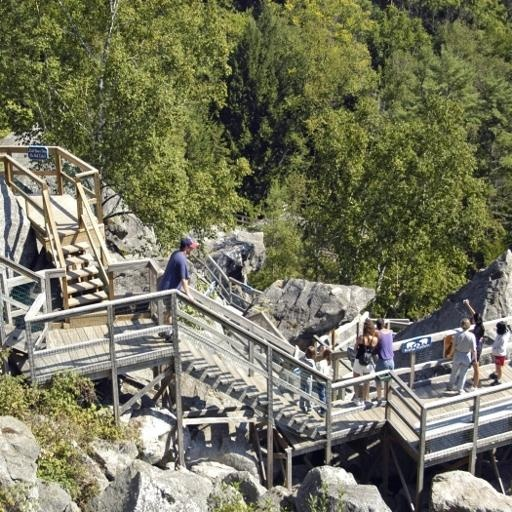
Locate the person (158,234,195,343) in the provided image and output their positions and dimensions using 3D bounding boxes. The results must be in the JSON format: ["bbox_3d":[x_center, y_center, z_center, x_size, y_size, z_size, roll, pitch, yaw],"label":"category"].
[{"bbox_3d":[-2.178,0.903,38.852,0.965,2.787,1.000,0,2,-6],"label":"person"}]

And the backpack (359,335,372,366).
[{"bbox_3d":[3.000,2.708,39.337,0.312,0.678,0.607,1,3,1],"label":"backpack"}]

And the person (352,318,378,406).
[{"bbox_3d":[3.491,2.897,39.883,0.536,2.502,0.687,-15,28,-27],"label":"person"}]

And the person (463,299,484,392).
[{"bbox_3d":[6.284,2.518,40.332,0.372,2.614,0.621,-1,15,-22],"label":"person"}]
